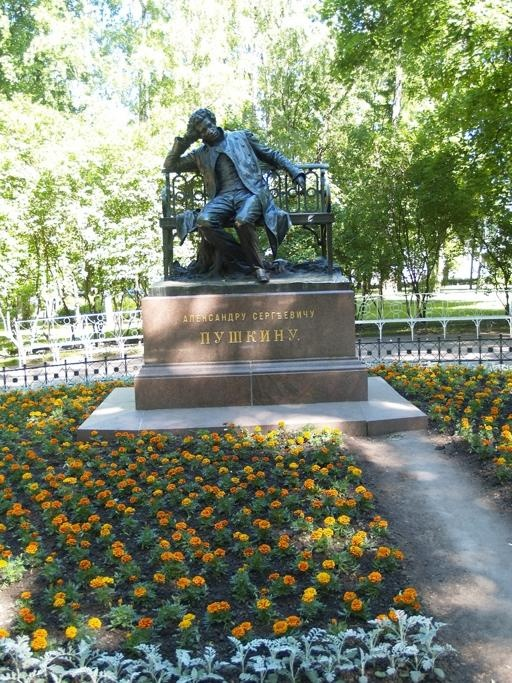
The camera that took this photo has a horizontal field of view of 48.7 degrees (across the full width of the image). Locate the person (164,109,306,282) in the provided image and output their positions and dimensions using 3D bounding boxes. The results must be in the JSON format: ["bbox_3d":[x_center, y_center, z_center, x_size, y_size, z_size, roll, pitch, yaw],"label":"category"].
[{"bbox_3d":[-0.256,-1.621,6.234,1.390,1.754,0.853,-3,5,-8],"label":"person"}]
